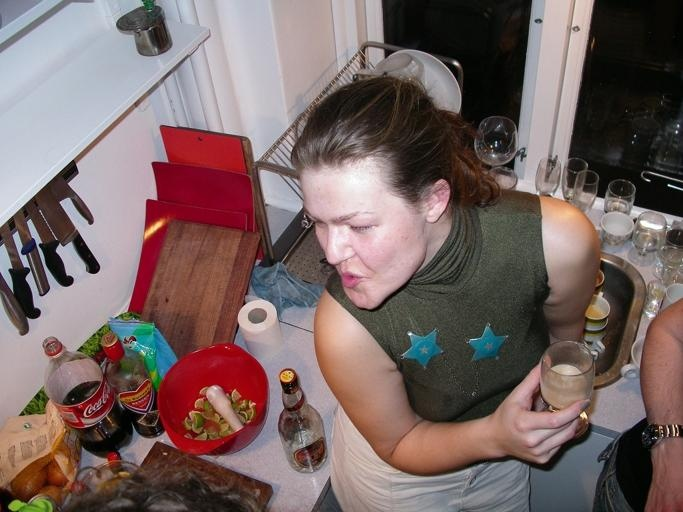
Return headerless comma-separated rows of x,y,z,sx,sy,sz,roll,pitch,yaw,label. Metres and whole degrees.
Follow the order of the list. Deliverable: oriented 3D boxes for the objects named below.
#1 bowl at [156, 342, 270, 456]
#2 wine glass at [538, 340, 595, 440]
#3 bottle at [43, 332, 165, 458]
-0.336,0.425,1.534,0.276,0.316,0.190,25,-18,27,bowl
0.473,0.260,1.068,0.100,0.131,0.181,4,12,26,wine glass
-0.655,0.411,1.412,0.282,0.331,0.139,-9,13,-37,bottle
